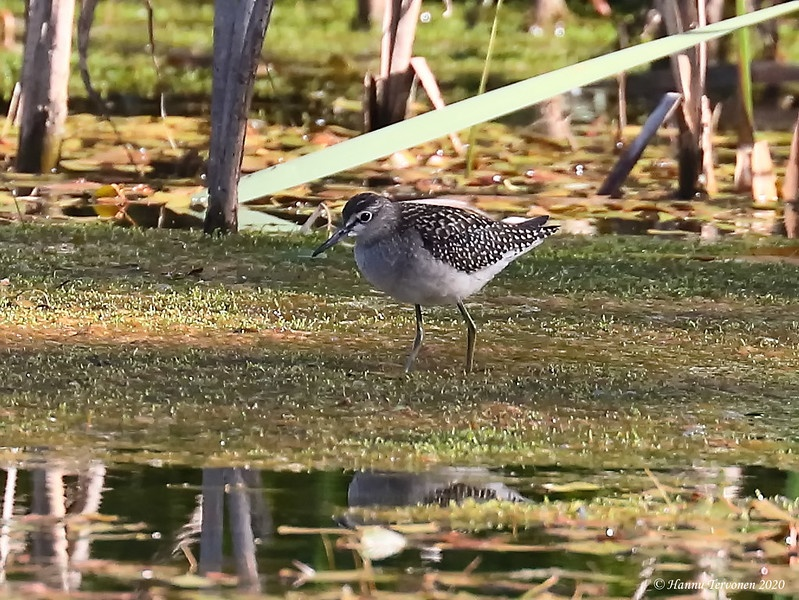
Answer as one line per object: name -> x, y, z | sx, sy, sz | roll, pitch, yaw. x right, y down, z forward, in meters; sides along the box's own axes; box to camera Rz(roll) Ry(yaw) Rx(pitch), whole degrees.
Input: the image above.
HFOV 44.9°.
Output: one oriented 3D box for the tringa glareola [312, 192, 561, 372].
tringa glareola -> 0.122, -0.090, 4.064 | 0.558, 1.314, 0.699 | 11, 105, 43
